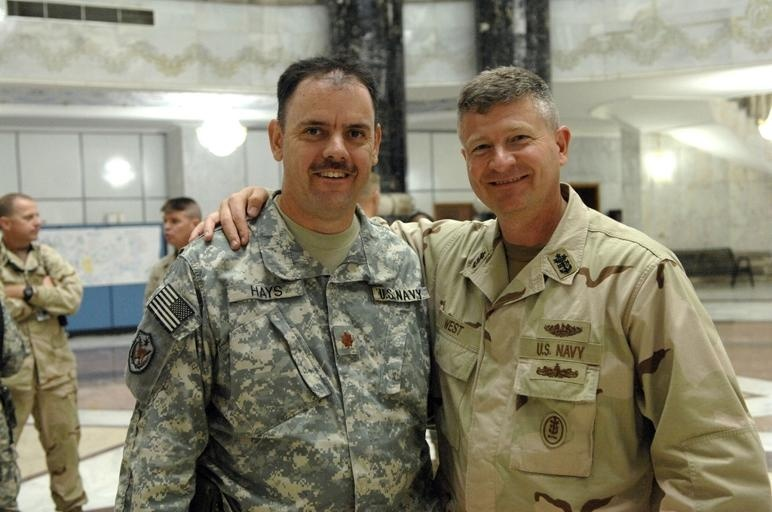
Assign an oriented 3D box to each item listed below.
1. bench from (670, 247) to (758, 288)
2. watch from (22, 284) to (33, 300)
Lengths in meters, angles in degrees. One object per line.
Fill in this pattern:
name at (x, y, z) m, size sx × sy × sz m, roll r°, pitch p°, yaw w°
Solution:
bench at (2.840, 0.096, 6.980) m, size 0.212 × 0.178 × 0.575 m, roll 21°, pitch -10°, yaw -18°
watch at (-2.864, 0.286, 6.546) m, size 0.085 × 0.111 × 0.098 m, roll 3°, pitch -21°, yaw -35°
